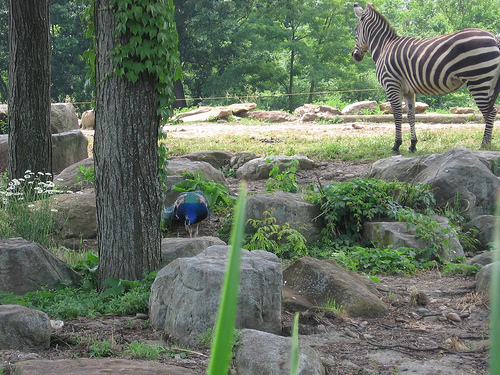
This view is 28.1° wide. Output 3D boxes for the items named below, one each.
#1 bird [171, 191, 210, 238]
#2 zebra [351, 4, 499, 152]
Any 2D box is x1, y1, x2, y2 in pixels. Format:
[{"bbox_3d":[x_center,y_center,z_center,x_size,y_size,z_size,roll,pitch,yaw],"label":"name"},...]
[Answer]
[{"bbox_3d":[-1.110,0.457,19.459,0.724,0.873,1.539,1,24,2],"label":"bird"},{"bbox_3d":[3.980,-2.527,22.471,1.313,3.328,3.667,-4,7,-32],"label":"zebra"}]
